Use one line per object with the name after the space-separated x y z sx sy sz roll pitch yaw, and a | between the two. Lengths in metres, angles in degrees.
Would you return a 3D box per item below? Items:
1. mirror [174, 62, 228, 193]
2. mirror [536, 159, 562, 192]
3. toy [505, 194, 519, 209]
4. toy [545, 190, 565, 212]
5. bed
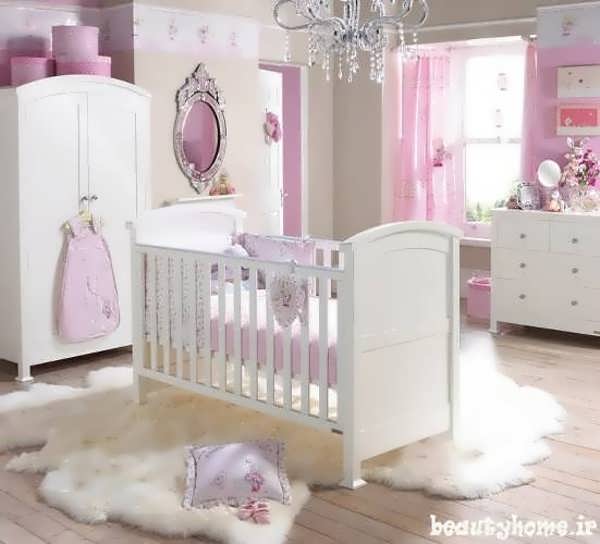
-0.725 -1.022 4.240 0.077 0.919 0.462 7 11 38 | mirror
1.834 -0.699 4.306 0.242 0.325 0.033 1 5 14 | mirror
1.595 -0.523 4.397 0.083 0.092 0.088 5 14 19 | toy
1.838 -0.503 4.215 0.075 0.088 0.140 -7 20 -1 | toy
-0.022 0.212 2.889 1.599 1.119 0.888 9 14 39 | bed
